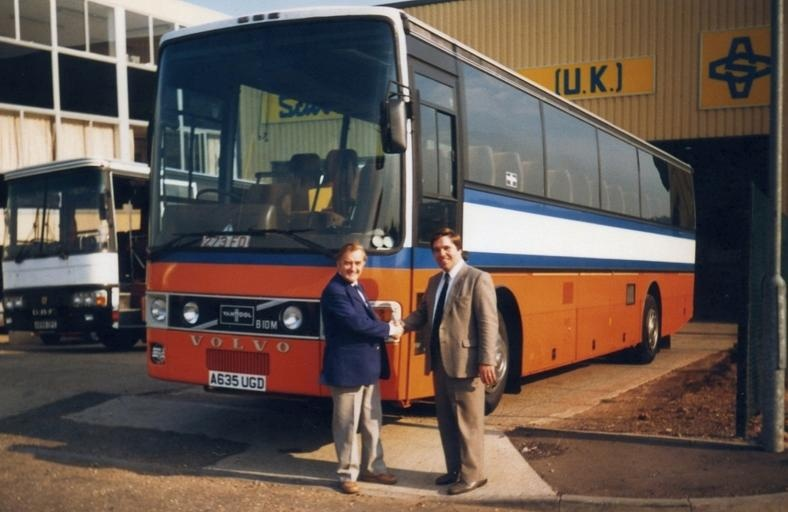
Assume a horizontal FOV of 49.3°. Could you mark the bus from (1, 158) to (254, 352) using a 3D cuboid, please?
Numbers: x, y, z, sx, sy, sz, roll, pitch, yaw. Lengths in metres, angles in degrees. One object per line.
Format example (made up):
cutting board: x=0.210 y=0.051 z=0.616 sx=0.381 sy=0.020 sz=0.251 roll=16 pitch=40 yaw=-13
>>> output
bus: x=-6.838 y=-0.021 z=22.882 sx=2.940 sy=3.451 sz=6.158 roll=-1 pitch=-2 yaw=22

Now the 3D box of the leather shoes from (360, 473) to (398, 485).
leather shoes: x=-0.198 y=3.058 z=11.962 sx=0.488 sy=0.241 sz=0.195 roll=-1 pitch=-3 yaw=-2

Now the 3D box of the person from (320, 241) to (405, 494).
person: x=-0.505 y=1.542 z=11.813 sx=0.988 sy=3.362 sz=0.657 roll=-1 pitch=10 yaw=-6

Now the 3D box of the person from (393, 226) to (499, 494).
person: x=0.855 y=1.433 z=11.844 sx=1.117 sy=3.523 sz=0.779 roll=4 pitch=11 yaw=21

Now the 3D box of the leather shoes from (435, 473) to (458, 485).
leather shoes: x=0.742 y=3.110 z=11.981 sx=0.283 sy=0.134 sz=0.150 roll=-12 pitch=4 yaw=4

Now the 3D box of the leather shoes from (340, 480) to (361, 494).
leather shoes: x=-0.585 y=3.178 z=11.796 sx=0.313 sy=0.151 sz=0.122 roll=-7 pitch=-7 yaw=43

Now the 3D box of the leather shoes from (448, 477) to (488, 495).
leather shoes: x=1.022 y=3.176 z=11.850 sx=0.524 sy=0.238 sz=0.197 roll=6 pitch=-10 yaw=-24
